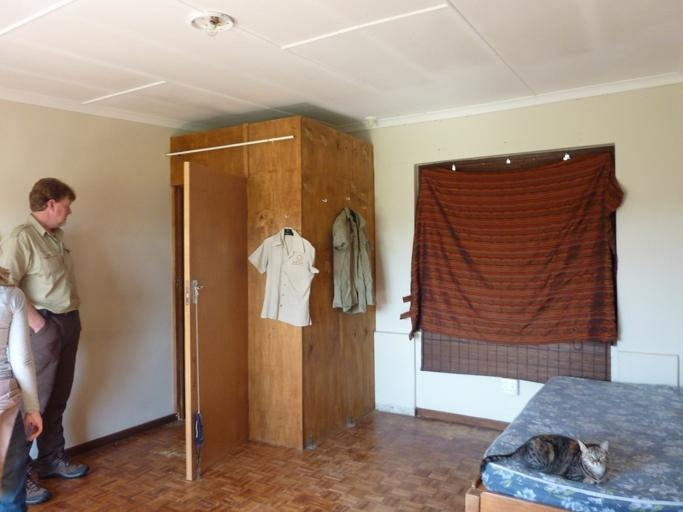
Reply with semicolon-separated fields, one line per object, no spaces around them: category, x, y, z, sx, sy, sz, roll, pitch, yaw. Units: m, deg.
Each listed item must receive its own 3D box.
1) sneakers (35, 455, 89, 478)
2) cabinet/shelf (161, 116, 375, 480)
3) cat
sneakers;-2.185;1.657;4.200;0.354;0.171;0.145;2;-2;-10
cabinet/shelf;-0.589;0.202;5.466;1.595;2.787;1.683;-3;-4;17
cat;1.215;1.148;3.092;0.508;0.200;0.311;0;16;29
